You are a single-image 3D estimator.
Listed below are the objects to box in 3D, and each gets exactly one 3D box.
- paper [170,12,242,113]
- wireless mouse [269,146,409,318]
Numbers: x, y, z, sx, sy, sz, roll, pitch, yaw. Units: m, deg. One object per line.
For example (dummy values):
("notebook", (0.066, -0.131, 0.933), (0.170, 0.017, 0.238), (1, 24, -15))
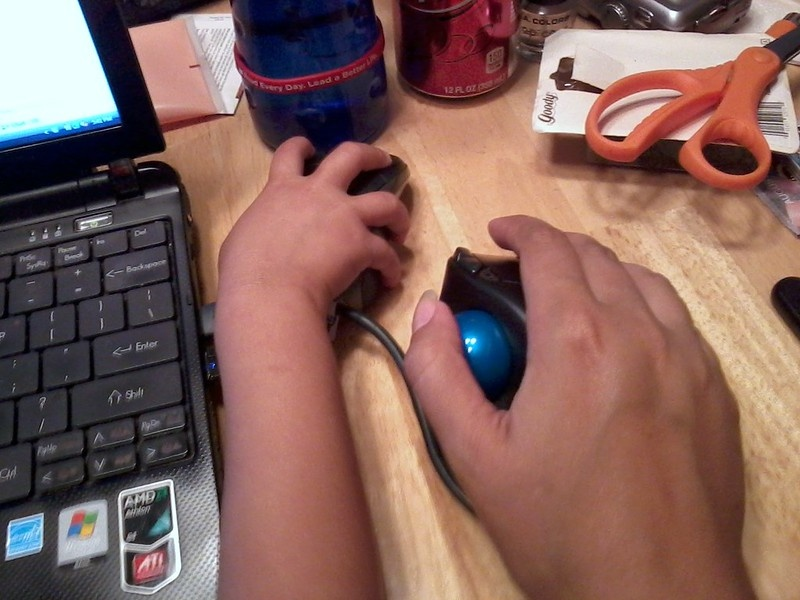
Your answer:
("paper", (-0.197, -0.255, 0.678), (0.097, 0.027, 0.121), (0, 70, -8))
("wireless mouse", (-0.044, -0.065, 0.542), (0.088, 0.046, 0.149), (6, 64, 4))
